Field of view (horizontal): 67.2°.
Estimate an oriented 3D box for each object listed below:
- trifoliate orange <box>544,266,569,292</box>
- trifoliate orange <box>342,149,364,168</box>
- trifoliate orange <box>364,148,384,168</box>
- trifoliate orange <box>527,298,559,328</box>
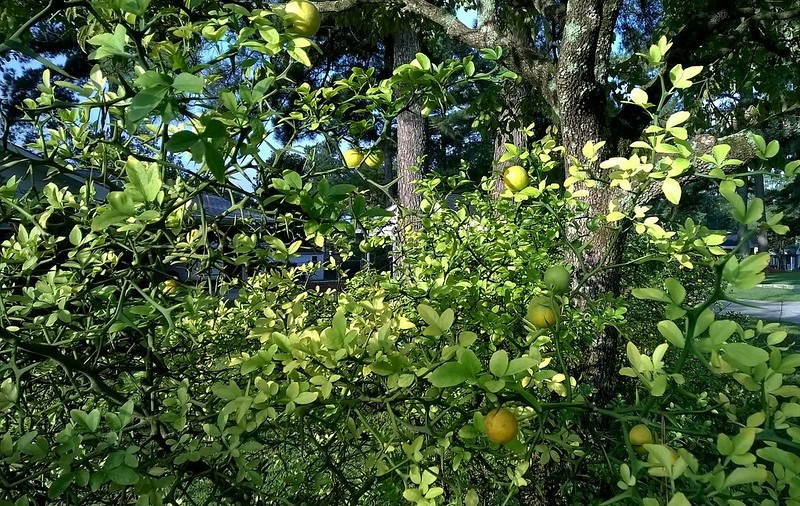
[{"bbox_3d":[0.783,0.139,2.986,0.105,0.103,0.137,2,26,45],"label":"trifoliate orange"},{"bbox_3d":[-0.254,-0.533,3.444,0.122,0.116,0.134,-4,73,-15],"label":"trifoliate orange"},{"bbox_3d":[-0.151,-0.547,3.469,0.087,0.084,0.095,0,87,-11],"label":"trifoliate orange"},{"bbox_3d":[0.699,0.285,2.894,0.098,0.098,0.112,-35,38,14],"label":"trifoliate orange"}]
